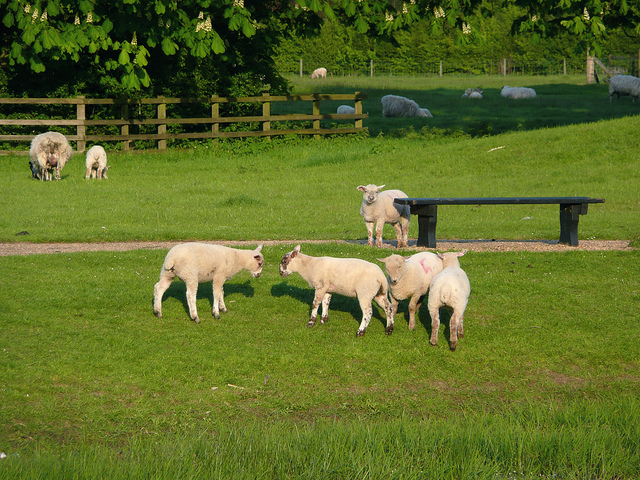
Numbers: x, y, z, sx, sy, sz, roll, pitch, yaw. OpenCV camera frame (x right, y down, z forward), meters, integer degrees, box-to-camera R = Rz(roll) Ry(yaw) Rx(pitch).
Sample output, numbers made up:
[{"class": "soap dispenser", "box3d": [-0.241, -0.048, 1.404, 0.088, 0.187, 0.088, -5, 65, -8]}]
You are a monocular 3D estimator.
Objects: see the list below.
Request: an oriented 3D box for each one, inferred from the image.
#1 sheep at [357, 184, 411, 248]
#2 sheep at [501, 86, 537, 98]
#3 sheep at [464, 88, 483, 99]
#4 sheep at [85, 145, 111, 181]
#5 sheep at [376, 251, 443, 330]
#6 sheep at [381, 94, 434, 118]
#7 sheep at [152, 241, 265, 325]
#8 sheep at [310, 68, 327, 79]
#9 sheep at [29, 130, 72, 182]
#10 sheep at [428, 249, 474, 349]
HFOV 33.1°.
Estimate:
[{"class": "sheep", "box3d": [1.952, -0.691, 32.218, 0.728, 1.963, 2.476, 7, 7, 38]}, {"class": "sheep", "box3d": [11.773, -8.644, 64.235, 1.095, 0.558, 2.479, -5, 15, -21]}, {"class": "sheep", "box3d": [9.288, -8.797, 65.733, 0.510, 0.544, 1.157, -3, 19, -18]}, {"class": "sheep", "box3d": [-8.444, -2.902, 40.612, 0.792, 1.241, 1.010, -3, 13, -13]}, {"class": "sheep", "box3d": [2.325, 1.171, 27.633, 0.943, 1.845, 2.388, 9, 11, 32]}, {"class": "sheep", "box3d": [4.359, -6.908, 56.871, 2.715, 1.069, 0.882, 8, 15, 30]}, {"class": "sheep", "box3d": [-2.751, 1.017, 27.668, 2.819, 2.228, 0.901, 0, 16, -32]}, {"class": "sheep", "box3d": [-0.118, -12.449, 81.784, 0.991, 0.749, 3.630, 1, 14, 5]}, {"class": "sheep", "box3d": [-10.217, -3.304, 40.563, 1.158, 2.120, 1.138, -7, 19, -23]}, {"class": "sheep", "box3d": [3.284, 1.350, 27.329, 0.978, 2.150, 2.503, 2, 13, 8]}]
